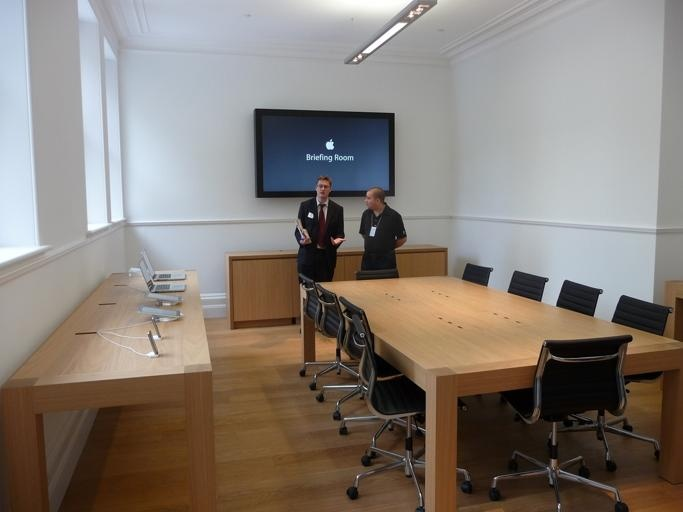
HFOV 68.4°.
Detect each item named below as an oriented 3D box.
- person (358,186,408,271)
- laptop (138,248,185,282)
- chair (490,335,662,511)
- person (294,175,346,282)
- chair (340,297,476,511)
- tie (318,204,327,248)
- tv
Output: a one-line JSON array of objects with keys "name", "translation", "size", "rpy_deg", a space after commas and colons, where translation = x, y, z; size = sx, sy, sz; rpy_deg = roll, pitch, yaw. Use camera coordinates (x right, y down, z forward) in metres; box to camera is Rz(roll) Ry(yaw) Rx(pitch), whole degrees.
[{"name": "person", "translation": [0.518, -0.322, 6.310], "size": [0.573, 1.052, 0.543], "rpy_deg": [1, 10, 3]}, {"name": "laptop", "translation": [-1.924, 0.187, 5.438], "size": [0.372, 0.303, 0.493], "rpy_deg": [-2, 8, -15]}, {"name": "chair", "translation": [1.478, 1.047, 3.739], "size": [0.971, 1.412, 1.125], "rpy_deg": [-2, 6, -10]}, {"name": "person", "translation": [-0.317, -0.061, 6.814], "size": [0.587, 2.052, 0.602], "rpy_deg": [5, 26, -2]}, {"name": "chair", "translation": [0.581, 1.123, 4.157], "size": [1.109, 1.816, 1.268], "rpy_deg": [-2, 5, -5]}, {"name": "tie", "translation": [-0.263, -0.388, 6.614], "size": [0.097, 0.549, 0.083], "rpy_deg": [0, 10, -3]}, {"name": "tv", "translation": [-0.371, -1.566, 7.603], "size": [1.427, 0.955, 0.111], "rpy_deg": [-1, 6, -16]}]
